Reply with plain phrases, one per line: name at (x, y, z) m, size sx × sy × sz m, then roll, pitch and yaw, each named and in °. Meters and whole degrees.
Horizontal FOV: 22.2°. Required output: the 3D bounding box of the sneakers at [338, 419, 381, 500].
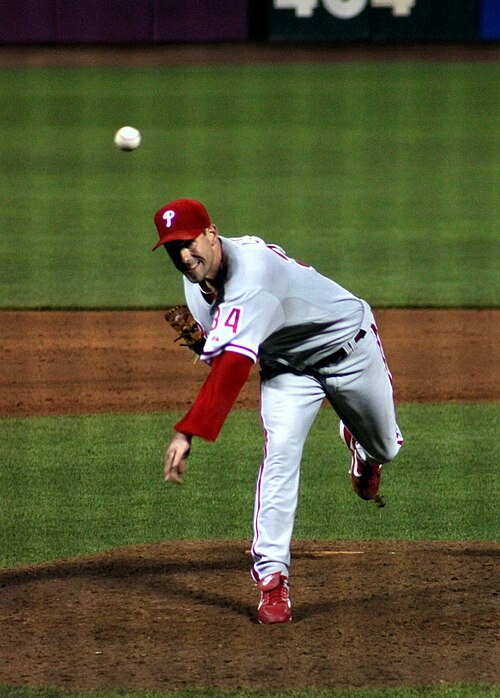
sneakers at (0.530, 0.577, 5.942) m, size 0.140 × 0.457 × 0.181 m, roll -16°, pitch 21°, yaw 8°

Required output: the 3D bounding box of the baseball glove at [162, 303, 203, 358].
baseball glove at (-0.288, -0.089, 5.698) m, size 0.090 × 0.282 × 0.185 m, roll -43°, pitch -7°, yaw 0°

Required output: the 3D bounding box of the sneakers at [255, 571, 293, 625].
sneakers at (0.096, 0.941, 4.826) m, size 0.130 × 0.172 × 0.186 m, roll 2°, pitch 16°, yaw 0°

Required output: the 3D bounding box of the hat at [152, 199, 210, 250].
hat at (-0.244, -0.441, 4.624) m, size 0.202 × 0.184 × 0.277 m, roll 1°, pitch 16°, yaw -3°

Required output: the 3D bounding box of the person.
person at (0.159, 0.186, 4.962) m, size 0.602 × 1.539 × 1.444 m, roll 18°, pitch 22°, yaw 42°

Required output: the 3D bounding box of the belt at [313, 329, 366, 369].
belt at (0.359, 0.011, 5.072) m, size 0.169 × 0.040 × 0.129 m, roll -39°, pitch -1°, yaw 4°
